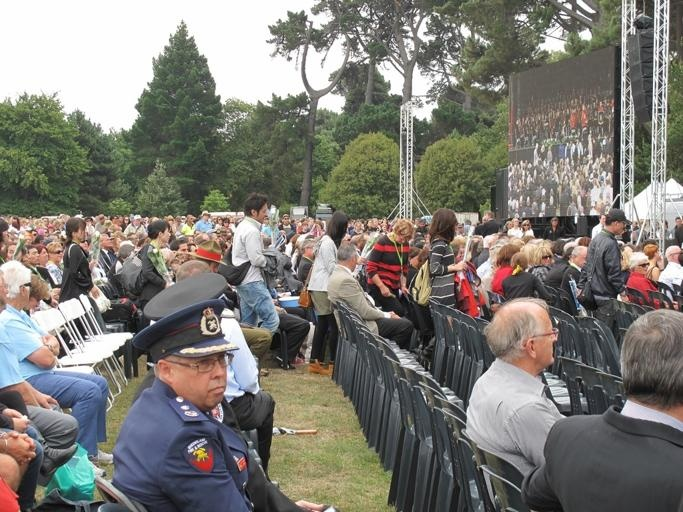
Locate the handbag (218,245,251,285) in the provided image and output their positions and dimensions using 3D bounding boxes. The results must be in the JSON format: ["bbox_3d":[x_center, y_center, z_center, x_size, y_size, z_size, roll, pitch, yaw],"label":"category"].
[{"bbox_3d":[-1.272,0.106,8.520,0.321,0.604,0.428,5,1,-32],"label":"handbag"}]

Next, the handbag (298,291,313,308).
[{"bbox_3d":[-0.471,0.584,9.587,0.098,0.229,0.217,-4,8,-25],"label":"handbag"}]

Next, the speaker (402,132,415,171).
[{"bbox_3d":[3.509,-5.435,36.874,0.544,2.054,0.408,-1,-8,12],"label":"speaker"}]

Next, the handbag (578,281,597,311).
[{"bbox_3d":[3.380,0.546,9.602,0.144,0.345,0.320,-7,12,-17],"label":"handbag"}]

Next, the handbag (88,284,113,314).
[{"bbox_3d":[-3.310,0.588,9.668,0.129,0.378,0.276,-31,26,-13],"label":"handbag"}]

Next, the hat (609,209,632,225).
[{"bbox_3d":[3.719,-0.547,9.408,0.226,0.146,0.166,2,8,-6],"label":"hat"}]

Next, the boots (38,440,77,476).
[{"bbox_3d":[-1.910,1.317,4.736,0.287,0.201,0.098,-36,-27,14],"label":"boots"}]

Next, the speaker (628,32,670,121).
[{"bbox_3d":[7.808,-4.791,18.208,0.655,2.560,1.515,7,1,16],"label":"speaker"}]

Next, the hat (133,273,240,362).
[{"bbox_3d":[-0.774,0.312,3.405,0.463,0.319,0.397,-8,-5,32],"label":"hat"}]
